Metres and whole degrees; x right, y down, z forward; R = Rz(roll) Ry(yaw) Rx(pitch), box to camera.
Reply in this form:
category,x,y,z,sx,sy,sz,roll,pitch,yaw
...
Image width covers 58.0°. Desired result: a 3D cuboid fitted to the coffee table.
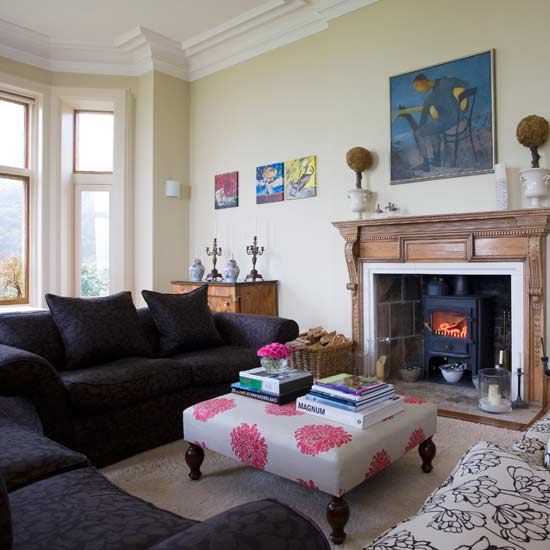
category,x,y,z,sx,sy,sz,roll,pitch,yaw
coffee table,0.191,0.621,1.941,0.638,0.216,0.576,1,2,39

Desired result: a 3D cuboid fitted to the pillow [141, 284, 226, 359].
category,x,y,z,sx,sy,sz,roll,pitch,yaw
pillow,-0.590,0.310,3.220,0.468,0.329,0.214,-5,-4,-38

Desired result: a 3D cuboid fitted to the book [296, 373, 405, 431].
category,x,y,z,sx,sy,sz,roll,pitch,yaw
book,0.275,0.492,2.018,0.251,0.071,0.231,-2,2,-41

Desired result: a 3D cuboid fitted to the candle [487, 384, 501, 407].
category,x,y,z,sx,sy,sz,roll,pitch,yaw
candle,1.343,0.729,3.043,0.072,0.134,0.027,2,6,22

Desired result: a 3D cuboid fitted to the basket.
category,x,y,z,sx,sy,sz,roll,pitch,yaw
basket,0.398,0.625,3.958,0.396,0.191,0.473,-2,-5,32

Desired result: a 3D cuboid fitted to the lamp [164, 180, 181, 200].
category,x,y,z,sx,sy,sz,roll,pitch,yaw
lamp,-1.120,-0.952,5.452,0.092,0.181,0.193,4,6,37
